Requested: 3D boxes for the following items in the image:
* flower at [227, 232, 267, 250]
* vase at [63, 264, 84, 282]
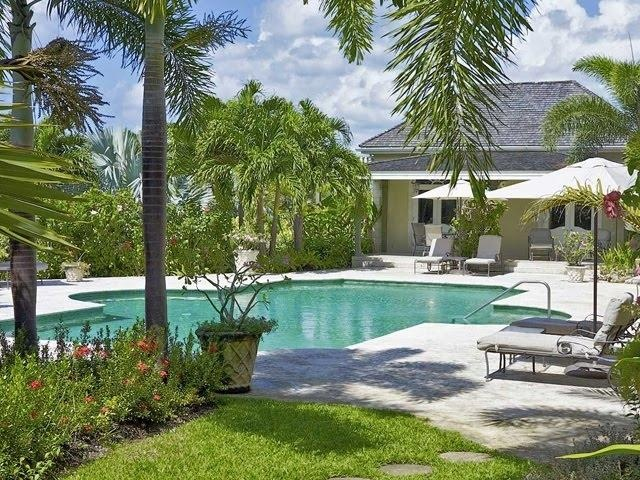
[{"bbox_3d":[-2.344,0.072,20.492,0.633,0.417,0.711,3,-5,24],"label":"flower"},{"bbox_3d":[-6.853,0.892,17.185,0.442,0.373,0.471,1,-1,18],"label":"vase"}]
